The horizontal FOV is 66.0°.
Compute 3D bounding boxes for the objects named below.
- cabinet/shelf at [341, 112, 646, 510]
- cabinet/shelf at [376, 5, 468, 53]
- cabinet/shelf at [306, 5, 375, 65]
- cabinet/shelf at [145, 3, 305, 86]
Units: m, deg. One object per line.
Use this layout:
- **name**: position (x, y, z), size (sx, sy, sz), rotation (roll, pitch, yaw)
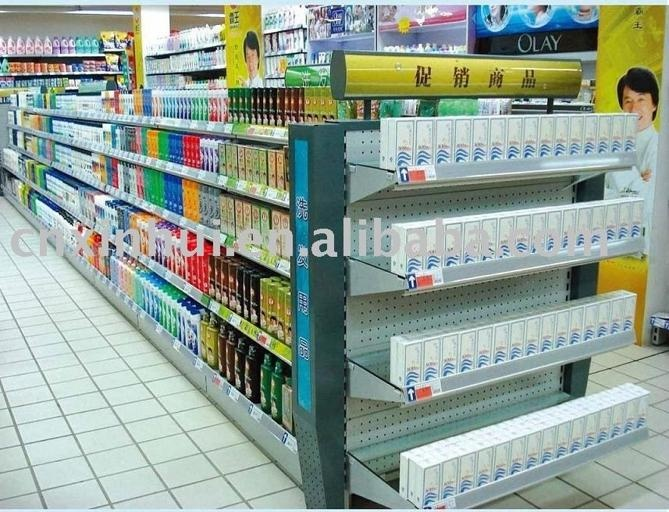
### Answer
- **cabinet/shelf**: position (0.779, 0.298, 2.667), size (1.814, 2.206, 0.727), rotation (-8, 14, -31)
- **cabinet/shelf**: position (1.010, -2.723, 6.090), size (1.091, 0.489, 0.798), rotation (5, 17, 19)
- **cabinet/shelf**: position (0.056, -3.001, 6.885), size (0.682, 0.764, 1.487), rotation (-4, 16, -12)
- **cabinet/shelf**: position (-2.155, -3.545, 9.170), size (1.104, 1.193, 6.134), rotation (-10, 19, -32)
